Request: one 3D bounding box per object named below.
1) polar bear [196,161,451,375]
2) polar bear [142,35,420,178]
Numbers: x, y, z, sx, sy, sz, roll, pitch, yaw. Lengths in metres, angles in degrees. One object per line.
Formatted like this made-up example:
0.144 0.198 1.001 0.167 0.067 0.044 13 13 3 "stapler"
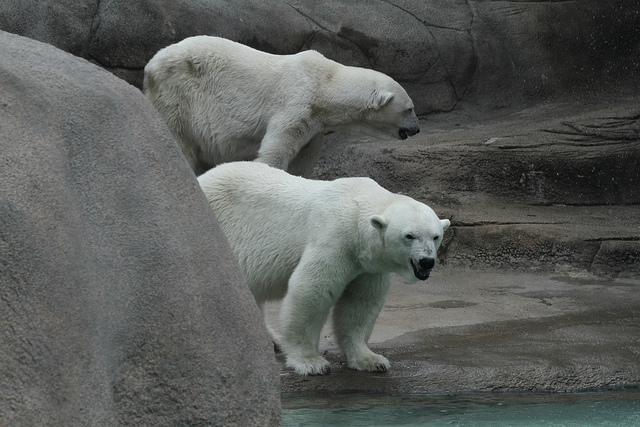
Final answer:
0.000 0.313 5.761 1.489 1.226 0.531 1 5 8 "polar bear"
-0.280 -0.729 7.143 2.189 1.042 0.781 7 25 18 "polar bear"
